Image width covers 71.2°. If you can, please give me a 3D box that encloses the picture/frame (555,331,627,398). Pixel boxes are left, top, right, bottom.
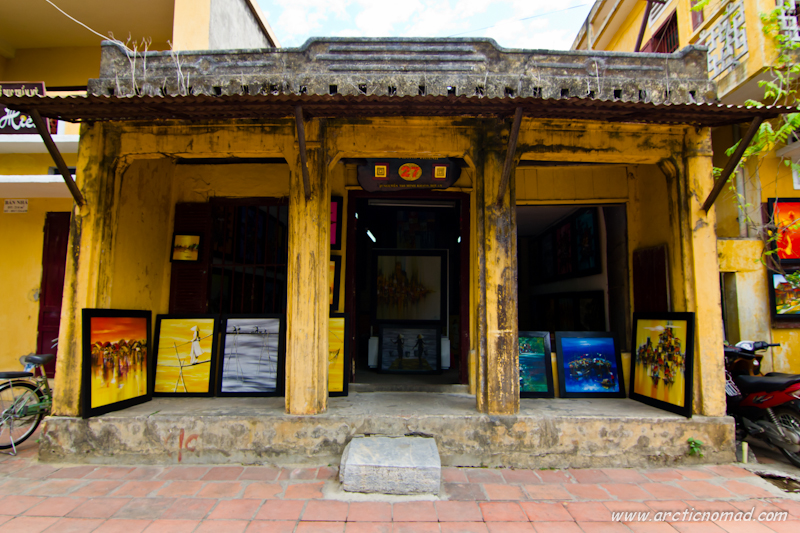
[{"bbox_3d":[3.277,1.735,9.673,1.151,1.129,0.074,1,-23,-2],"label":"picture/frame"}]

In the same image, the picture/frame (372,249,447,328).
[{"bbox_3d":[0.259,0.550,12.676,1.778,1.659,0.175,0,-6,4],"label":"picture/frame"}]

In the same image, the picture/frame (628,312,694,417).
[{"bbox_3d":[4.207,1.586,8.922,0.100,1.702,1.482,7,-6,-19],"label":"picture/frame"}]

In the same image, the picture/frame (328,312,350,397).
[{"bbox_3d":[-1.050,1.479,9.539,0.332,1.368,0.145,0,-9,-3],"label":"picture/frame"}]

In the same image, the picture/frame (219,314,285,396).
[{"bbox_3d":[-2.558,1.571,9.576,1.406,1.651,0.069,0,-13,1],"label":"picture/frame"}]
